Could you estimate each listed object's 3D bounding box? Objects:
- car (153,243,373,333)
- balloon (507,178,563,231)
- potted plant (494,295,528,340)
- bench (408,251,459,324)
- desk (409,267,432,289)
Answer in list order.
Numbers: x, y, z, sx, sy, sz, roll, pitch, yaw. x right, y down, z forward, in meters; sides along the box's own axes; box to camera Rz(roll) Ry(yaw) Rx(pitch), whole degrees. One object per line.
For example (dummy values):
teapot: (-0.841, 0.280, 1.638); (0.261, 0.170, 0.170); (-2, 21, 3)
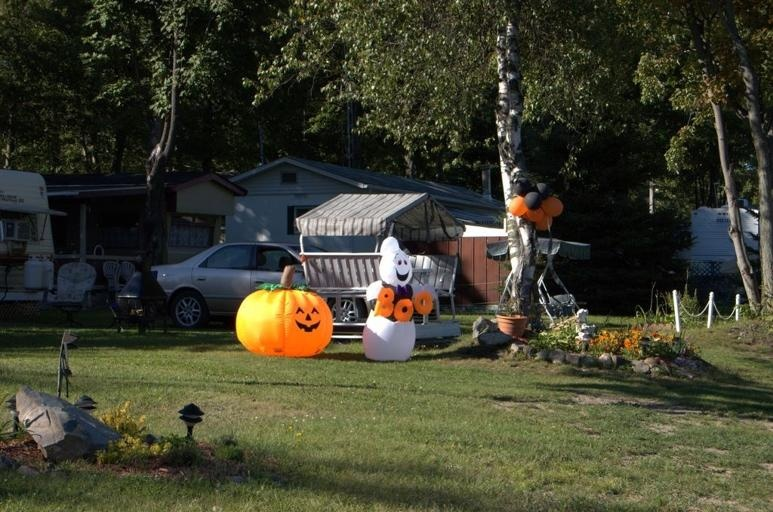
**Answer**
car: (-4.785, 0.796, 31.652); (5.464, 2.399, 2.458); (0, 0, -6)
balloon: (4.107, -1.489, 31.620); (1.335, 1.459, 1.077); (0, -4, 1)
potted plant: (3.513, 1.749, 31.609); (0.857, 1.171, 0.968); (3, -7, -21)
bench: (1.504, 0.915, 35.410); (1.338, 2.042, 1.390); (-1, -1, 44)
desk: (1.085, 0.678, 34.903); (0.459, 0.783, 0.536); (1, -4, -12)
